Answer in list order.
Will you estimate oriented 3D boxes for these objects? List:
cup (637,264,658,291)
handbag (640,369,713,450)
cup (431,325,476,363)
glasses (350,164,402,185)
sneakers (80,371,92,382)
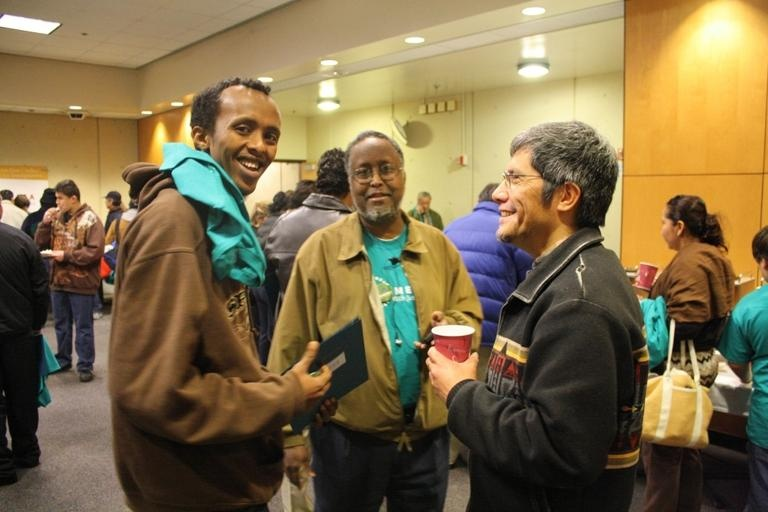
[{"bbox_3d":[1.882,0.159,3.952,0.131,0.144,0.125,25,-11,5],"label":"cup"},{"bbox_3d":[1.753,0.881,3.365,0.544,0.518,0.195,11,-2,-19],"label":"handbag"},{"bbox_3d":[0.309,0.383,2.484,0.158,0.123,0.158,-1,3,0],"label":"cup"},{"bbox_3d":[-0.048,-0.434,3.000,0.143,0.046,0.148,-5,-19,-1],"label":"glasses"},{"bbox_3d":[-3.196,1.287,5.921,0.070,0.083,0.183,4,-20,-21],"label":"sneakers"}]
